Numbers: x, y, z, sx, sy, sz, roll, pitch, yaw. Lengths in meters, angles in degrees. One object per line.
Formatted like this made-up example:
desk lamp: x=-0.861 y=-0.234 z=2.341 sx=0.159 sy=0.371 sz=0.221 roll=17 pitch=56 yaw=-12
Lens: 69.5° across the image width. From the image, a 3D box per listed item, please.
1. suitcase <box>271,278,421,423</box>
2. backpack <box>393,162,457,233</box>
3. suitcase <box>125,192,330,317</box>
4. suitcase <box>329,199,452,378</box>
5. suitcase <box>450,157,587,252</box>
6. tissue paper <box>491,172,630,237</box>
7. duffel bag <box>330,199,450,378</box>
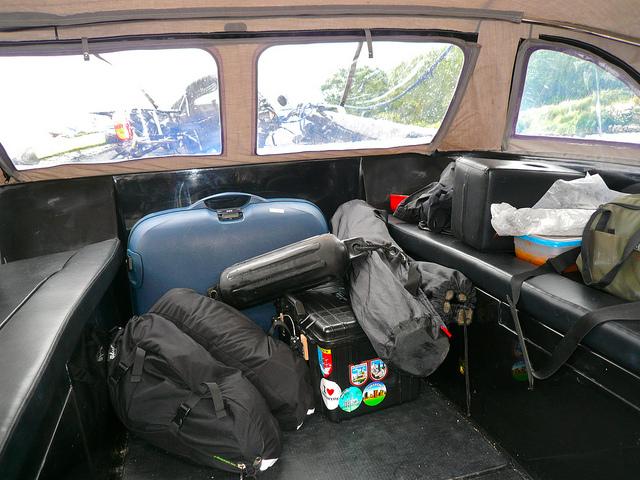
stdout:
suitcase: x=0.115 y=0.539 z=2.528 sx=0.709 sy=0.563 sz=0.726 roll=-7 pitch=18 yaw=-23
backpack: x=0.631 y=-0.299 z=2.856 sx=0.372 sy=0.466 sz=0.568 roll=2 pitch=24 yaw=14
suitcase: x=-0.534 y=0.159 z=2.915 sx=1.277 sy=1.014 sz=0.488 roll=-4 pitch=26 yaw=-9
suitcase: x=0.335 y=0.251 z=2.351 sx=0.568 sy=0.847 sz=0.683 roll=-1 pitch=21 yaw=-15
suitcase: x=1.028 y=-0.202 z=2.520 sx=0.792 sy=0.609 sz=0.444 roll=-5 pitch=12 yaw=-19
tissue paper: x=1.089 y=-0.140 z=2.193 sx=0.441 sy=0.159 sz=0.358 roll=-9 pitch=17 yaw=15
duffel bag: x=0.307 y=0.173 z=2.576 sx=0.334 sy=0.396 sz=1.162 roll=-10 pitch=38 yaw=-13
